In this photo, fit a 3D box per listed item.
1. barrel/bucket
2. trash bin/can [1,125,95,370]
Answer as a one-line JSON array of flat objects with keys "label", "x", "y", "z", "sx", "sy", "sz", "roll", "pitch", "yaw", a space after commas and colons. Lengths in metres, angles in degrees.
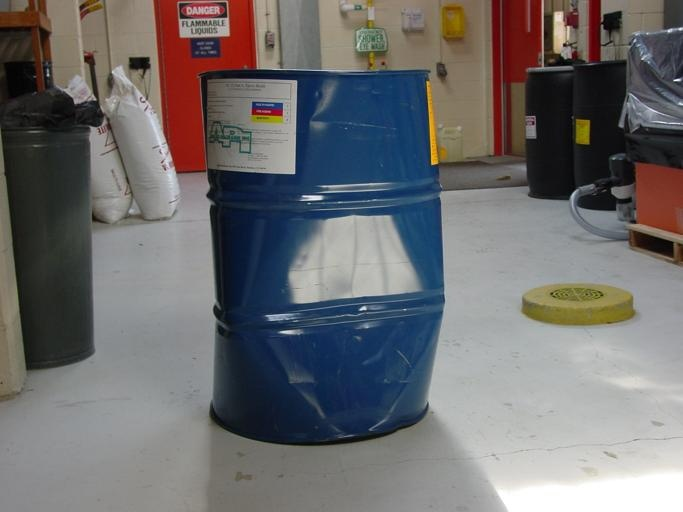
[{"label": "barrel/bucket", "x": -0.140, "y": -0.040, "z": 2.229, "sx": 0.953, "sy": 1.426, "sz": 1.008, "roll": -2, "pitch": 8, "yaw": 0}, {"label": "trash bin/can", "x": -1.078, "y": -0.033, "z": 2.168, "sx": 0.390, "sy": 0.882, "sz": 0.172, "roll": -15, "pitch": 20, "yaw": -30}]
